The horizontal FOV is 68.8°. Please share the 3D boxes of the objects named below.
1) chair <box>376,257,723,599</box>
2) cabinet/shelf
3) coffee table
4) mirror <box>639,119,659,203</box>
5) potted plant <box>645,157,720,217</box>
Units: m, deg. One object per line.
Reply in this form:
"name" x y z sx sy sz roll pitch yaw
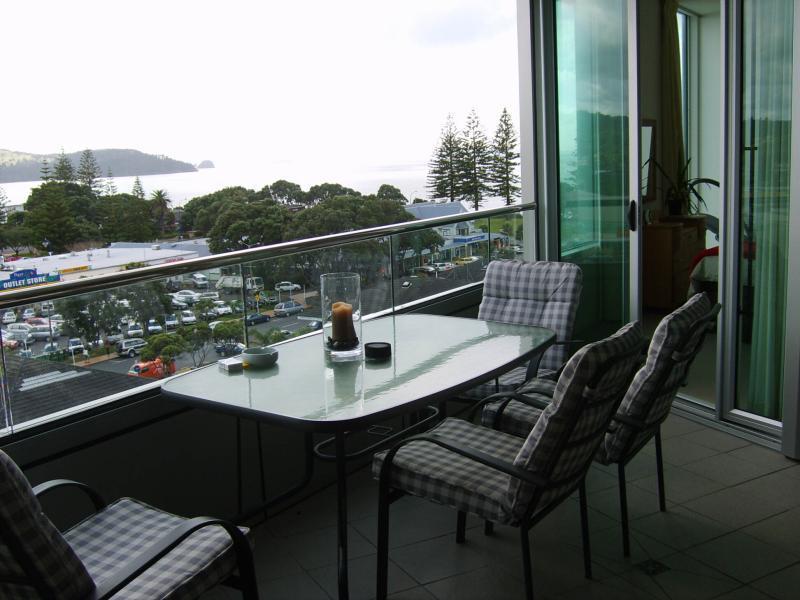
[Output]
"chair" 0.659 0.598 2.599 0.716 0.863 1.273 8 17 33
"cabinet/shelf" 3.116 -0.472 6.615 0.421 0.888 1.076 5 17 40
"coffee table" -0.149 0.278 2.293 1.015 0.761 1.588 6 14 28
"mirror" 2.400 -1.392 5.604 0.123 0.857 2.568 1 11 24
"potted plant" 3.312 -1.296 6.752 0.592 0.623 0.995 3 12 32
